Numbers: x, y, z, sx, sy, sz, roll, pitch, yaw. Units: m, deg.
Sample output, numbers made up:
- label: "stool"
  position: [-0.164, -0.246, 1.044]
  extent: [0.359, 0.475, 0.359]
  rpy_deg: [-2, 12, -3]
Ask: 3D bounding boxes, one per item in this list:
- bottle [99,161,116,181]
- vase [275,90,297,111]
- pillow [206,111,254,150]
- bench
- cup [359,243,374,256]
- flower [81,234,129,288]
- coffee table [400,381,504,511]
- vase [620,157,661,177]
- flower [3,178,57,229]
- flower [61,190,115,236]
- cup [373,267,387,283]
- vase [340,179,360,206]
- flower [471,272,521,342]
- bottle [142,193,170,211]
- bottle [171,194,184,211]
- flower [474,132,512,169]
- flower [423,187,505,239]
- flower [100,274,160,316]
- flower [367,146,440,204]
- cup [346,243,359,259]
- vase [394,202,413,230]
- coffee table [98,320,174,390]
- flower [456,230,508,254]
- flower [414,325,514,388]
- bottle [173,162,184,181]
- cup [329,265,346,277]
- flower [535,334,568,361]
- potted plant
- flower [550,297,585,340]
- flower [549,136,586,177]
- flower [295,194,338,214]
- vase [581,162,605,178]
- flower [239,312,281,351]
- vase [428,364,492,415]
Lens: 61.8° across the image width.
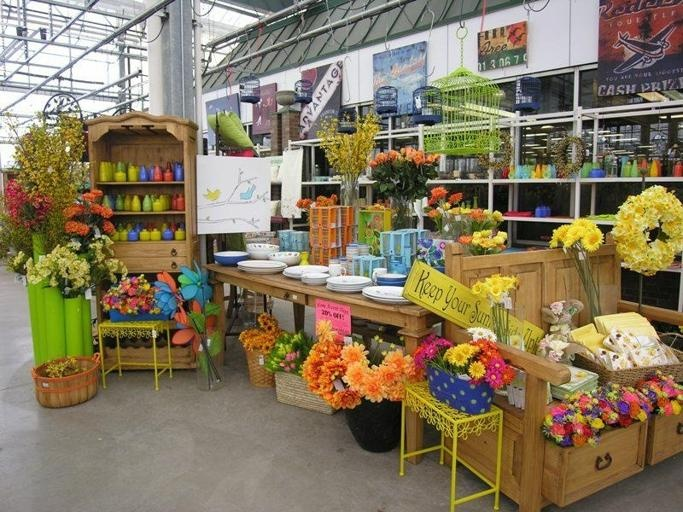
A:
- label: "bottle"
  position: [-2.453, -0.898, 6.032]
  extent: [0.095, 0.198, 0.283]
  rpy_deg: [-3, 10, 4]
- label: "vase"
  position: [-1.153, -3.291, 11.983]
  extent: [0.480, 0.384, 0.494]
  rpy_deg: [2, 11, 7]
- label: "pillow"
  position: [-1.302, -1.503, 6.695]
  extent: [0.503, 0.488, 0.197]
  rpy_deg: [6, 36, 42]
- label: "bench"
  position: [1.568, 0.905, 4.173]
  extent: [1.745, 1.549, 0.955]
  rpy_deg: [-6, 8, -34]
- label: "cup"
  position: [0.221, -0.057, 5.232]
  extent: [0.120, 0.108, 0.082]
  rpy_deg: [-1, 6, -5]
- label: "flower"
  position: [-2.379, 0.072, 5.768]
  extent: [0.473, 0.625, 0.470]
  rpy_deg: [0, 18, -7]
- label: "coffee table"
  position: [0.806, 1.382, 4.140]
  extent: [0.506, 0.868, 0.837]
  rpy_deg: [-4, 8, -27]
- label: "vase"
  position: [3.622, -1.089, 6.953]
  extent: [0.414, 0.218, 0.814]
  rpy_deg: [3, 12, 35]
- label: "flower"
  position: [-3.035, -0.507, 5.540]
  extent: [0.425, 0.358, 0.506]
  rpy_deg: [5, -21, -39]
- label: "flower"
  position: [-2.474, -0.444, 5.653]
  extent: [0.452, 0.494, 0.423]
  rpy_deg: [2, 8, 14]
- label: "cup"
  position: [0.315, 0.156, 4.830]
  extent: [0.083, 0.139, 0.135]
  rpy_deg: [9, 13, 39]
- label: "vase"
  position: [0.077, -0.635, 5.636]
  extent: [0.173, 0.263, 0.315]
  rpy_deg: [-4, 10, 1]
- label: "flower"
  position: [1.101, 0.380, 4.172]
  extent: [0.297, 0.482, 0.300]
  rpy_deg: [-15, 22, -2]
- label: "bottle"
  position: [-1.983, -0.586, 6.117]
  extent: [0.249, 0.191, 0.159]
  rpy_deg: [0, 1, -42]
- label: "bottle"
  position: [-1.747, -0.586, 6.150]
  extent: [0.179, 0.201, 0.173]
  rpy_deg: [3, 1, -7]
- label: "flower"
  position: [2.099, -1.506, 7.949]
  extent: [0.161, 0.501, 0.430]
  rpy_deg: [2, -21, -13]
- label: "flower"
  position: [0.972, -0.351, 4.854]
  extent: [0.532, 0.395, 0.543]
  rpy_deg: [4, 7, -10]
- label: "flower"
  position: [-2.094, 0.413, 5.735]
  extent: [0.400, 0.243, 0.530]
  rpy_deg: [1, 6, -8]
- label: "flower"
  position: [0.555, -0.796, 5.251]
  extent: [0.514, 0.443, 0.498]
  rpy_deg: [-12, 19, -32]
- label: "cup"
  position: [0.102, -0.048, 5.268]
  extent: [0.120, 0.133, 0.123]
  rpy_deg: [1, 4, 0]
- label: "vase"
  position: [0.555, -0.373, 5.235]
  extent: [0.161, 0.233, 0.287]
  rpy_deg: [-1, 10, 14]
- label: "coffee table"
  position: [-2.113, 0.920, 6.024]
  extent: [0.870, 0.873, 0.633]
  rpy_deg: [0, 5, -2]
- label: "flower"
  position: [1.101, -0.115, 4.475]
  extent: [0.245, 0.176, 0.252]
  rpy_deg: [8, 10, 28]
- label: "flower"
  position: [0.864, 0.721, 3.959]
  extent: [0.504, 0.232, 0.419]
  rpy_deg: [6, 10, -10]
- label: "bottle"
  position: [-1.721, -0.903, 6.053]
  extent: [0.106, 0.191, 0.187]
  rpy_deg: [-6, 10, -15]
- label: "cup"
  position: [-0.040, 0.116, 5.039]
  extent: [0.126, 0.122, 0.083]
  rpy_deg: [9, 11, 34]
- label: "flower"
  position: [1.573, 0.681, 4.268]
  extent: [0.114, 0.202, 0.193]
  rpy_deg: [4, -1, -44]
- label: "potted plant"
  position: [-2.622, 1.109, 5.415]
  extent: [0.457, 0.322, 0.521]
  rpy_deg: [6, 5, 24]
- label: "flower"
  position: [1.764, 0.480, 4.497]
  extent: [0.290, 0.306, 0.262]
  rpy_deg: [5, -3, -9]
- label: "flower"
  position: [2.918, -1.292, 7.361]
  extent: [0.368, 0.525, 0.557]
  rpy_deg: [0, 11, 23]
- label: "flower"
  position: [-0.266, -0.557, 5.903]
  extent: [0.382, 0.179, 0.363]
  rpy_deg: [-4, 3, 19]
- label: "vase"
  position: [3.162, -1.100, 7.254]
  extent: [0.255, 0.191, 0.155]
  rpy_deg: [1, 6, 15]
- label: "flower"
  position: [-0.792, 0.780, 5.759]
  extent: [0.358, 0.395, 0.218]
  rpy_deg: [1, -12, 1]
- label: "vase"
  position: [0.816, 0.943, 4.025]
  extent: [0.268, 0.190, 0.408]
  rpy_deg: [-3, 11, -35]
